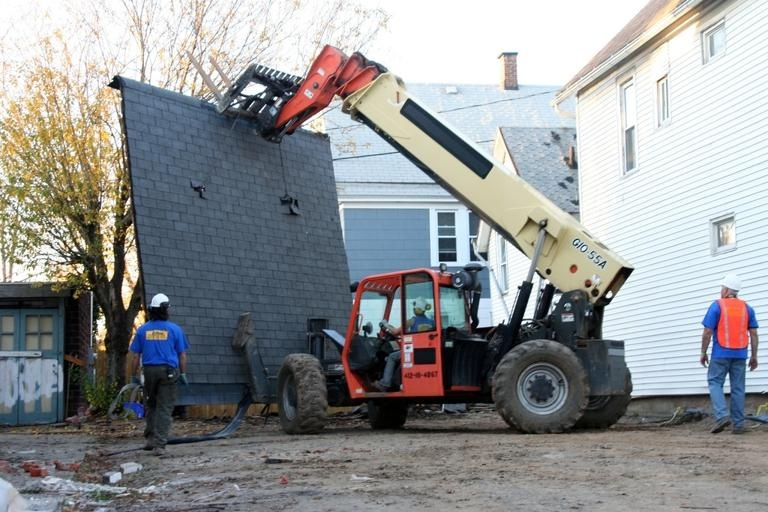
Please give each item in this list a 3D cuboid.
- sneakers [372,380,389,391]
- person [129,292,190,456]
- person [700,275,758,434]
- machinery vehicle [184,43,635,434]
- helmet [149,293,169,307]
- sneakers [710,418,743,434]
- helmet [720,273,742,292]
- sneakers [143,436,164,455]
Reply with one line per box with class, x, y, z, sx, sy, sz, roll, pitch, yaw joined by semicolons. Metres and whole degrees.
sneakers;-0.056;2.255;14.537;0.123;0.154;0.356;-3;9;-41
person;-3.418;1.761;12.815;0.823;2.359;0.578;1;-7;-16
person;5.461;1.544;13.362;0.879;2.490;0.489;-2;-6;8
machinery vehicle;0.560;-0.231;15.143;7.698;6.638;2.669;-1;-5;27
helmet;-3.488;0.692;13.146;0.242;0.192;0.340;-4;-8;6
sneakers;5.295;2.675;13.226;0.567;0.236;0.193;1;-2;31
helmet;5.853;0.448;14.231;0.252;0.182;0.333;14;14;-8
sneakers;-3.391;2.846;12.639;0.165;0.241;0.531;7;-4;-36
